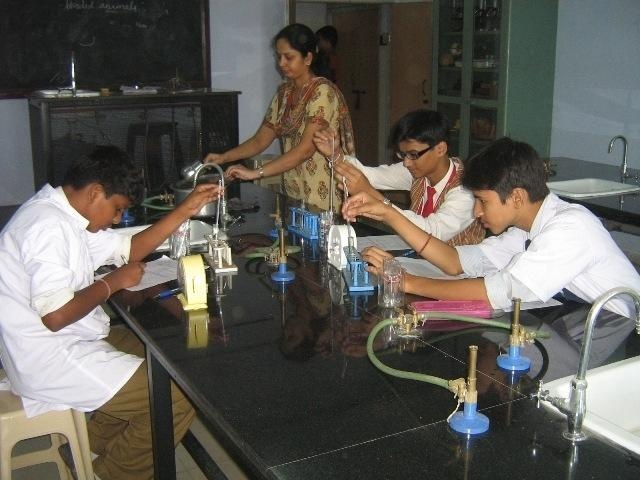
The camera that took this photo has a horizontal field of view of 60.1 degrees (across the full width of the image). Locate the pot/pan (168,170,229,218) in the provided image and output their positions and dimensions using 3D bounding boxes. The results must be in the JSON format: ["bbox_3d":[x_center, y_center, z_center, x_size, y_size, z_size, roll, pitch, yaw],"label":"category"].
[{"bbox_3d":[-0.695,-0.277,3.073,0.251,0.174,0.261,-4,18,-10],"label":"pot/pan"}]

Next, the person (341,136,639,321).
[{"bbox_3d":[0.549,-0.057,2.226,1.097,0.668,0.622,-4,14,0],"label":"person"}]

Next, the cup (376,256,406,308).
[{"bbox_3d":[0.262,0.165,2.051,0.110,0.186,0.110,-1,24,1],"label":"cup"}]

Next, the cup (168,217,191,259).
[{"bbox_3d":[-0.639,-0.010,2.503,0.109,0.170,0.108,4,32,-2],"label":"cup"}]

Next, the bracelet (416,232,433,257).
[{"bbox_3d":[0.433,0.020,2.318,0.018,0.075,0.077,27,-7,-15],"label":"bracelet"}]
